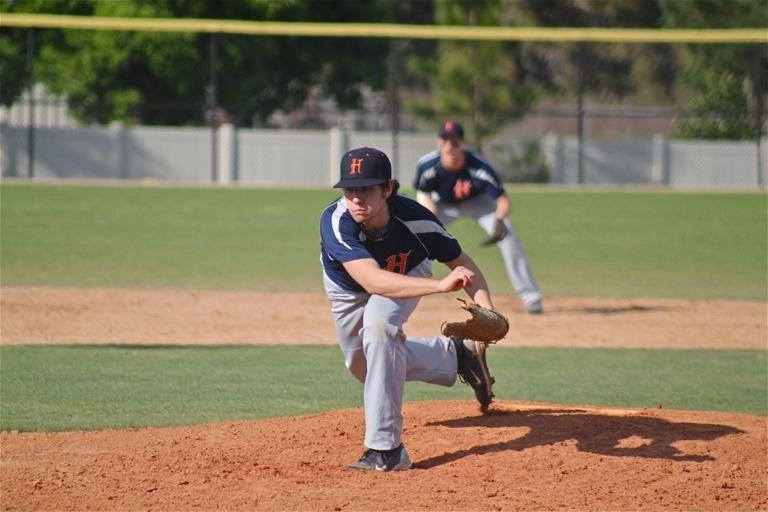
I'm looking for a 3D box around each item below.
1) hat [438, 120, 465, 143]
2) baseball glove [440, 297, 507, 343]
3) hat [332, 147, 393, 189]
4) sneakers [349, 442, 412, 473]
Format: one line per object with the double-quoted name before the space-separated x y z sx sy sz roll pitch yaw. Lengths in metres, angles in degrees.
"hat" 0.776 -1.470 18.110 0.286 0.237 0.237 -2 2 -1
"baseball glove" 0.868 0.608 14.849 0.546 0.266 0.392 22 -49 -20
"hat" -0.183 -0.826 14.583 0.358 0.258 0.473 3 7 26
"sneakers" -0.017 1.951 14.742 0.614 0.272 0.214 1 -3 2
